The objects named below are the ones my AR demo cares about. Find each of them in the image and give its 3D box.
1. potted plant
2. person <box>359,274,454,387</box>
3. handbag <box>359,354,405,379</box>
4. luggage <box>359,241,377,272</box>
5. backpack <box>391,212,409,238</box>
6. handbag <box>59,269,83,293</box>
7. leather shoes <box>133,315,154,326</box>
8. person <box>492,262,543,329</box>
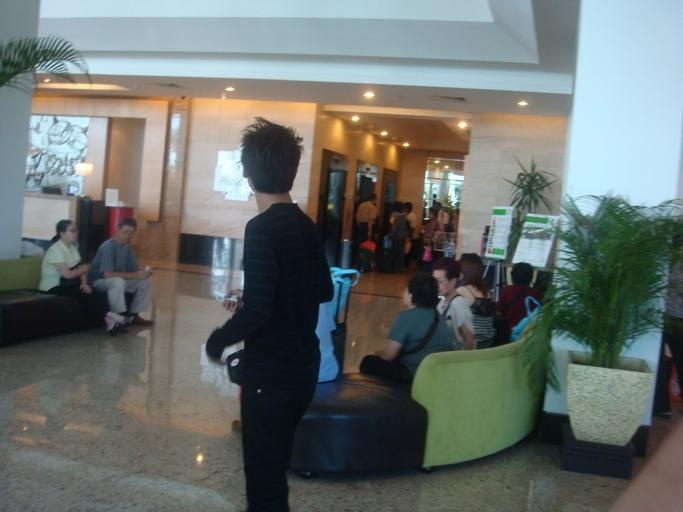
[{"bbox_3d":[1.926,0.552,3.935,0.983,2.036,0.669,8,7,19],"label":"potted plant"},{"bbox_3d":[0.499,0.561,4.202,0.827,0.924,0.682,10,10,41],"label":"person"},{"bbox_3d":[0.318,0.844,3.972,0.269,0.093,0.159,0,-8,45],"label":"handbag"},{"bbox_3d":[0.646,0.004,13.557,0.303,0.767,0.543,8,7,23],"label":"luggage"},{"bbox_3d":[1.622,-0.824,14.356,0.721,0.732,0.423,2,5,14],"label":"backpack"},{"bbox_3d":[-3.269,0.371,6.316,0.222,0.208,0.085,2,-12,-5],"label":"handbag"},{"bbox_3d":[-2.570,0.838,6.700,0.299,0.119,0.100,-1,12,-2],"label":"leather shoes"},{"bbox_3d":[1.760,0.415,5.220,0.403,0.769,0.262,-4,34,-4],"label":"person"}]
